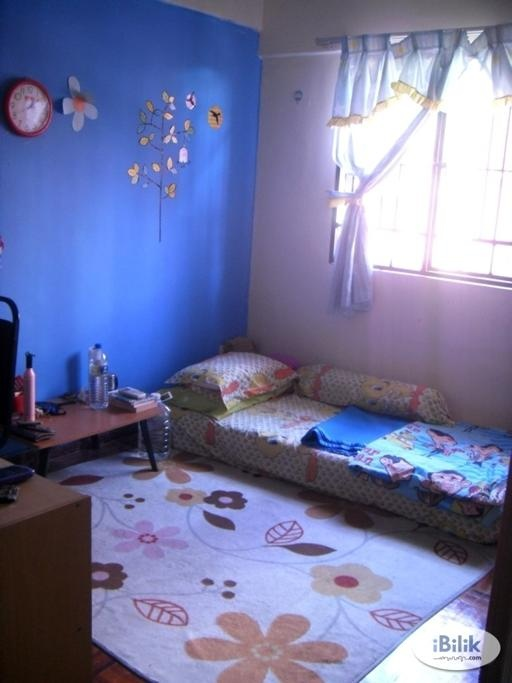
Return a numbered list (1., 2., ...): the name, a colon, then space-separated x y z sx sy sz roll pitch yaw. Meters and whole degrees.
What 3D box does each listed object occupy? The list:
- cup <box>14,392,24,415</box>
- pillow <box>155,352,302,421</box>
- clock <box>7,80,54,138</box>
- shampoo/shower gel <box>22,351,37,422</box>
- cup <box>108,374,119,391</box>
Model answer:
1. cup: -1.191 0.308 2.870 0.037 0.102 0.070 -3 11 -33
2. pillow: -0.133 0.247 3.728 0.430 0.184 0.596 13 19 34
3. clock: -1.122 -1.153 2.817 0.048 0.292 0.270 8 -13 17
4. shampoo/shower gel: -1.111 0.218 2.802 0.057 0.352 0.175 -1 10 -23
5. cup: -0.836 0.241 3.387 0.078 0.086 0.075 0 -1 0
